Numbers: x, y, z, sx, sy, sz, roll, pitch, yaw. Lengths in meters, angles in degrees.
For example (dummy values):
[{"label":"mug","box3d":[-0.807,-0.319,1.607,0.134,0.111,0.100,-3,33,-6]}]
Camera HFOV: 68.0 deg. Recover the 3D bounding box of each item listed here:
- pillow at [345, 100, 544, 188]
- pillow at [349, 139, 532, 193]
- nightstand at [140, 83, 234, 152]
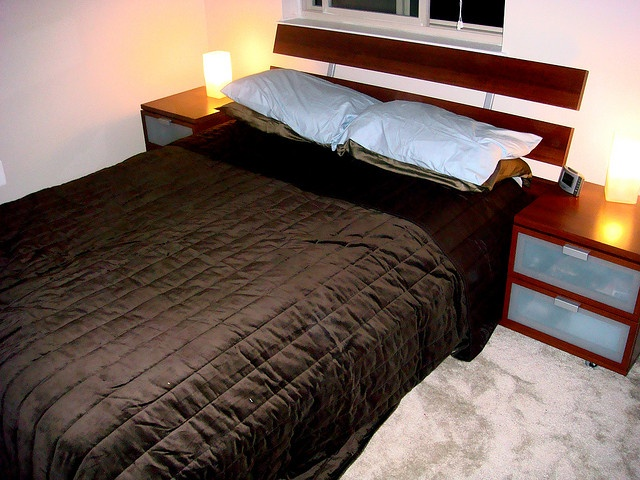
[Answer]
[{"label":"pillow","box3d":[0.537,-0.512,2.379,0.778,0.144,0.481,20,51,29]},{"label":"pillow","box3d":[0.552,-0.339,2.450,0.618,0.144,0.432,22,40,28]},{"label":"nightstand","box3d":[-0.914,-0.850,3.590,0.535,0.429,0.532,22,40,30]}]
